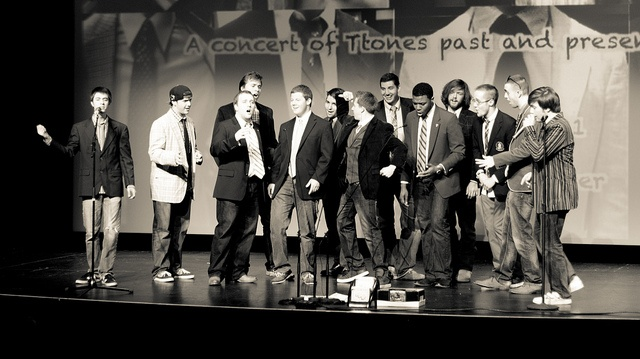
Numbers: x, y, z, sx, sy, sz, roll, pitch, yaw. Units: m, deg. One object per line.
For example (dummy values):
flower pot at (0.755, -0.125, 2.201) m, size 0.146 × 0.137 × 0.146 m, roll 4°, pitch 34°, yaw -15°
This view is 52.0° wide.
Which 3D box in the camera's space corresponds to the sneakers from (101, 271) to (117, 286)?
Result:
sneakers at (-3.069, 1.457, 9.544) m, size 0.129 × 0.137 × 0.348 m, roll 3°, pitch -8°, yaw -29°

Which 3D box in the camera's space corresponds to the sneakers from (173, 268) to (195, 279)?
sneakers at (-2.086, 1.438, 10.043) m, size 0.321 × 0.127 × 0.130 m, roll 0°, pitch -1°, yaw 10°

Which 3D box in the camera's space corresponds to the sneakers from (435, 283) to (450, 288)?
sneakers at (1.776, 1.546, 9.550) m, size 0.234 × 0.081 × 0.177 m, roll -1°, pitch -8°, yaw 12°

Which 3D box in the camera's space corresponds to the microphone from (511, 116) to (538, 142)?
microphone at (2.840, -0.726, 9.136) m, size 0.076 × 0.177 × 0.311 m, roll 33°, pitch -57°, yaw -17°

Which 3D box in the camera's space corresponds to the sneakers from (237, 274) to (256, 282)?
sneakers at (-1.100, 1.475, 9.821) m, size 0.239 × 0.103 × 0.117 m, roll -2°, pitch 0°, yaw 4°

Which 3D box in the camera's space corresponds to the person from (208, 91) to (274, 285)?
person at (-1.233, 0.155, 9.742) m, size 0.775 × 2.814 × 0.887 m, roll -1°, pitch -9°, yaw 14°

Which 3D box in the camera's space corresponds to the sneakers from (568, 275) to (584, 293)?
sneakers at (3.568, 1.467, 9.176) m, size 0.222 × 0.257 × 0.268 m, roll -11°, pitch -10°, yaw 27°

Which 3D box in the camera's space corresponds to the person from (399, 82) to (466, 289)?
person at (1.676, 0.113, 9.761) m, size 0.868 × 2.942 × 0.834 m, roll 1°, pitch -8°, yaw 3°

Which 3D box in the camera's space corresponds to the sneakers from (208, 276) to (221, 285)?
sneakers at (-1.543, 1.470, 9.577) m, size 0.182 × 0.153 × 0.149 m, roll 2°, pitch -8°, yaw -8°

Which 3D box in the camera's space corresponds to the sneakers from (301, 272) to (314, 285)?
sneakers at (-0.174, 1.460, 9.703) m, size 0.226 × 0.218 × 0.220 m, roll 4°, pitch -8°, yaw -35°

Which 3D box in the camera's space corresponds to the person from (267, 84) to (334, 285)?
person at (-0.305, 0.092, 9.759) m, size 0.728 × 2.897 × 0.827 m, roll 5°, pitch -9°, yaw -25°

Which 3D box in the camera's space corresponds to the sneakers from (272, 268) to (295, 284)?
sneakers at (-0.556, 1.462, 9.889) m, size 0.146 × 0.175 × 0.405 m, roll -4°, pitch -9°, yaw 30°

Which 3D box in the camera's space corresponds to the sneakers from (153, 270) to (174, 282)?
sneakers at (-2.335, 1.447, 9.769) m, size 0.314 × 0.165 × 0.191 m, roll 2°, pitch -8°, yaw -9°

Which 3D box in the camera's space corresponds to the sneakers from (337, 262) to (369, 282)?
sneakers at (0.446, 1.444, 9.922) m, size 0.563 × 0.245 × 0.205 m, roll -23°, pitch 7°, yaw 40°

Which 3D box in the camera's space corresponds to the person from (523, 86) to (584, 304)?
person at (3.074, 0.213, 8.751) m, size 0.680 × 2.861 × 0.529 m, roll 2°, pitch -8°, yaw -4°

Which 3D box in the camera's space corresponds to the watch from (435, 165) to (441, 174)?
watch at (1.701, -0.139, 9.457) m, size 0.087 × 0.107 × 0.037 m, roll -4°, pitch -6°, yaw -10°

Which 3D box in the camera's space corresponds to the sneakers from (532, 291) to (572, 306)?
sneakers at (3.093, 1.568, 8.726) m, size 0.543 × 0.220 × 0.185 m, roll 1°, pitch -6°, yaw 2°

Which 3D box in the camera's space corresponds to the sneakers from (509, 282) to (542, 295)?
sneakers at (2.899, 1.529, 9.248) m, size 0.448 × 0.200 × 0.166 m, roll 1°, pitch -10°, yaw 4°

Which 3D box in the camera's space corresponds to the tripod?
tripod at (-3.146, 0.837, 9.483) m, size 0.663 × 1.627 × 1.137 m, roll 7°, pitch -10°, yaw -36°

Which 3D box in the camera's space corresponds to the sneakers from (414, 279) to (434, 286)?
sneakers at (1.527, 1.529, 9.695) m, size 0.286 × 0.116 × 0.105 m, roll 3°, pitch -10°, yaw 1°

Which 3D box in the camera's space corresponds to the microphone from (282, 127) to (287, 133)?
microphone at (-0.531, -0.742, 9.816) m, size 0.037 × 0.060 × 0.057 m, roll 10°, pitch 5°, yaw 42°

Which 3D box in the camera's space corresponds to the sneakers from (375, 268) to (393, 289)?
sneakers at (0.915, 1.428, 9.567) m, size 0.240 × 0.274 × 0.662 m, roll 0°, pitch -8°, yaw 10°

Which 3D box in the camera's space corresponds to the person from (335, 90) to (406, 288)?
person at (0.730, 0.141, 9.873) m, size 0.951 × 2.855 × 0.977 m, roll 3°, pitch -8°, yaw -12°

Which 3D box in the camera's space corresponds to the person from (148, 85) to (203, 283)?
person at (-2.207, 0.213, 9.899) m, size 0.636 × 2.648 × 0.814 m, roll -4°, pitch -10°, yaw 34°

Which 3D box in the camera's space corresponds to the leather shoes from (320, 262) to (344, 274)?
leather shoes at (0.127, 1.388, 10.289) m, size 0.511 × 0.219 × 0.184 m, roll 5°, pitch -7°, yaw -35°

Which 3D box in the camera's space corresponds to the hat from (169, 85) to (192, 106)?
hat at (-2.025, -1.277, 10.069) m, size 0.362 × 0.281 × 0.576 m, roll 0°, pitch 1°, yaw -39°
